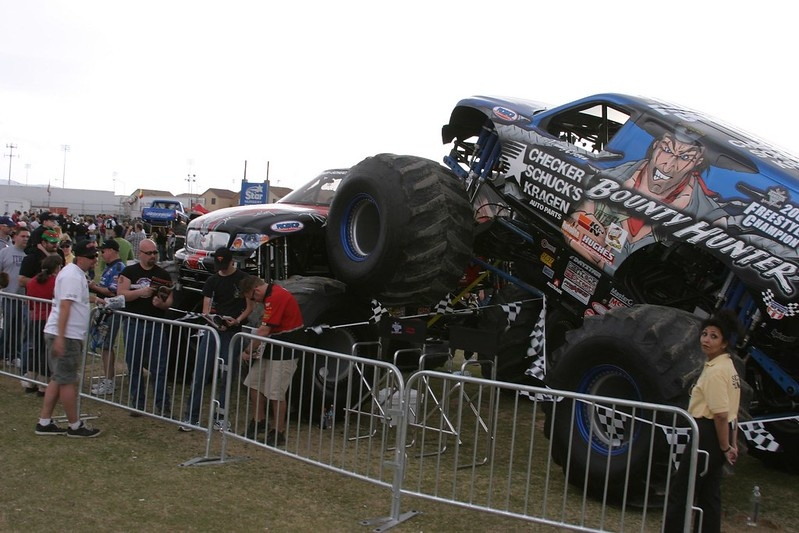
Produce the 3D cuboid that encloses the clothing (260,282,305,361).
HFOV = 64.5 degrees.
[{"bbox_3d":[-1.417,0.680,7.849,0.481,0.846,0.803,-3,6,8],"label":"clothing"}]

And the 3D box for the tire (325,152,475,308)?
[{"bbox_3d":[-0.096,-0.505,9.068,1.332,2.199,2.393,4,4,-38],"label":"tire"}]

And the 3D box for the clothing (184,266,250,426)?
[{"bbox_3d":[-2.321,1.031,8.100,0.716,2.015,0.667,11,-7,-9],"label":"clothing"}]

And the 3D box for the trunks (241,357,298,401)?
[{"bbox_3d":[-1.632,1.268,7.496,0.464,0.288,0.514,3,21,-44],"label":"trunks"}]

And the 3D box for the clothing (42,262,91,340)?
[{"bbox_3d":[-3.988,0.428,7.634,0.496,0.821,0.747,3,0,-31],"label":"clothing"}]

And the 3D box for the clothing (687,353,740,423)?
[{"bbox_3d":[2.814,1.108,5.629,0.403,0.593,0.712,13,5,25],"label":"clothing"}]

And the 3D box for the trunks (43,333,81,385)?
[{"bbox_3d":[-3.920,1.119,7.420,0.318,0.551,0.178,2,5,-31],"label":"trunks"}]

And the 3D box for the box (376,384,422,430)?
[{"bbox_3d":[0.070,1.496,6.741,0.543,0.510,0.746,1,-2,-11],"label":"box"}]

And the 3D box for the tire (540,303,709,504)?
[{"bbox_3d":[2.396,1.436,6.688,0.842,1.856,1.896,11,-14,-27],"label":"tire"}]

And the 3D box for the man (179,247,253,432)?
[{"bbox_3d":[-2.310,0.915,8.216,0.908,2.298,0.737,6,-4,-22],"label":"man"}]
